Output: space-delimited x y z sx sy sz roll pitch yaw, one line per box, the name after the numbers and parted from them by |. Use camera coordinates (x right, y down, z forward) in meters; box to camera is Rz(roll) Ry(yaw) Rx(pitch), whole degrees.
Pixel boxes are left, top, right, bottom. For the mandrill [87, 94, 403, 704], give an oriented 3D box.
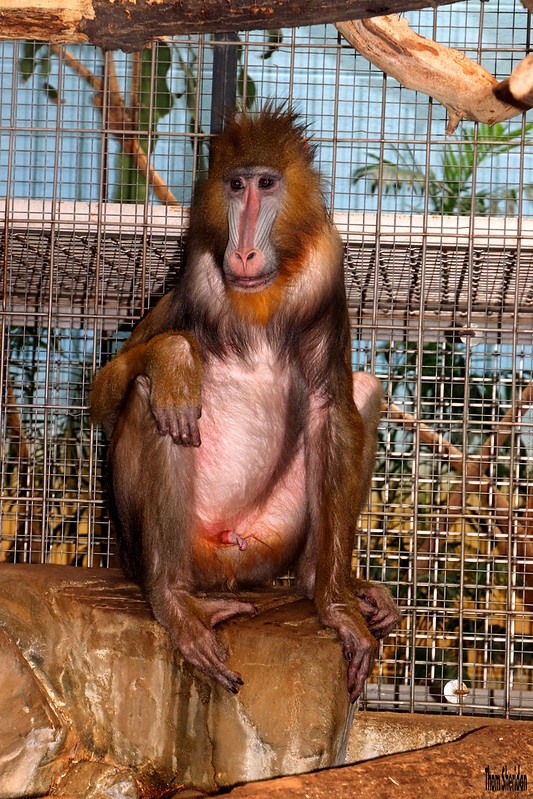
-0.064 -0.019 5.066 1.080 1.946 0.685 3 0 -8 | mandrill
